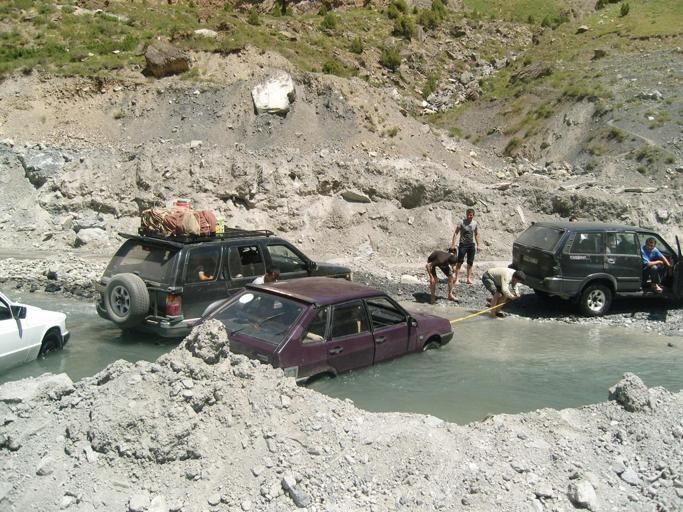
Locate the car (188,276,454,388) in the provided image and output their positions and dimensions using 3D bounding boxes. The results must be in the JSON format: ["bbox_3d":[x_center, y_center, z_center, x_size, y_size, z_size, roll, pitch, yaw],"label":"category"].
[{"bbox_3d":[-0.209,1.192,10.064,3.673,1.387,1.501,-5,9,-38],"label":"car"}]
